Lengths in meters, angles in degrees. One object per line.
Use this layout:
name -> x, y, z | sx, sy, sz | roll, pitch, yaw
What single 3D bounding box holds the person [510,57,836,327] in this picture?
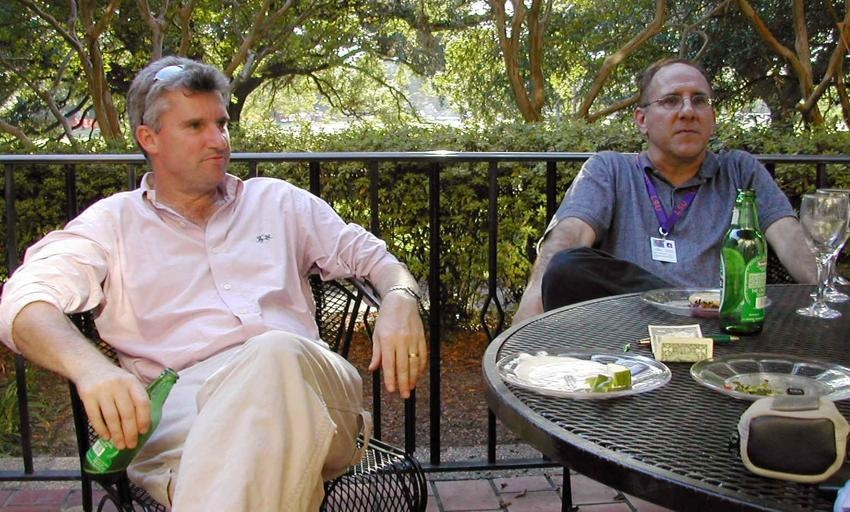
person -> 1.322, -0.241, 3.208 | 1.784, 1.319, 1.022 | 1, 9, 5
